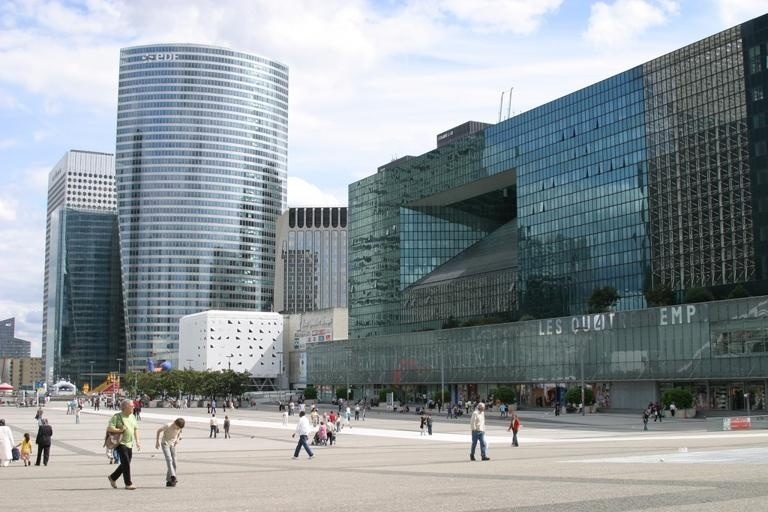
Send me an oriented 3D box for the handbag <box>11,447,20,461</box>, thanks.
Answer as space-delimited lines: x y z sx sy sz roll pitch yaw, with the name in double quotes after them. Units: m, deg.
-33.087 17.699 91.434 0.573 1.182 0.993 -4 -13 18 "handbag"
